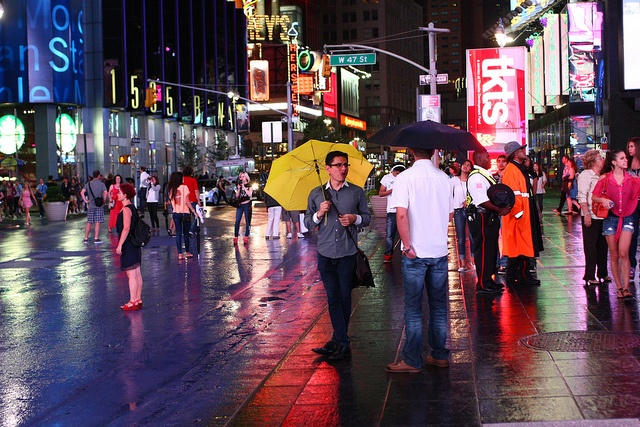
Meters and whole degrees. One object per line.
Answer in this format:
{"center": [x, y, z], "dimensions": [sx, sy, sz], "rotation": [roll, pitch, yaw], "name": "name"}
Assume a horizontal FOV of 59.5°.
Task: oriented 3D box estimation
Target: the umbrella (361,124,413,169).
{"center": [1.000, -0.887, 7.533], "dimensions": [0.499, 0.309, 0.501], "rotation": [-26, 20, -14], "name": "umbrella"}

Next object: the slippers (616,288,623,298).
{"center": [5.164, 1.376, 9.662], "dimensions": [0.091, 0.158, 0.207], "rotation": [0, 5, 24], "name": "slippers"}

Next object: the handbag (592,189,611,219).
{"center": [4.975, -0.190, 9.921], "dimensions": [0.239, 0.445, 0.395], "rotation": [12, 9, -8], "name": "handbag"}

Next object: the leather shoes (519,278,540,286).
{"center": [4.166, 1.375, 11.149], "dimensions": [0.330, 0.150, 0.145], "rotation": [-3, -3, 33], "name": "leather shoes"}

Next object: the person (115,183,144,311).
{"center": [-3.581, 0.590, 10.574], "dimensions": [0.396, 2.323, 0.948], "rotation": [-3, 4, -19], "name": "person"}

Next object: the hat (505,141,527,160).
{"center": [3.854, -1.277, 11.142], "dimensions": [0.316, 0.355, 0.522], "rotation": [0, 4, 19], "name": "hat"}

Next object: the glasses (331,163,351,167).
{"center": [0.261, -0.635, 7.300], "dimensions": [0.251, 0.053, 0.086], "rotation": [-3, 4, -19], "name": "glasses"}

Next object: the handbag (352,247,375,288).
{"center": [0.557, 0.618, 7.414], "dimensions": [0.330, 0.558, 0.502], "rotation": [0, 49, 12], "name": "handbag"}

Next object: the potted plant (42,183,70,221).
{"center": [-15.440, -0.551, 32.286], "dimensions": [1.636, 2.299, 1.780], "rotation": [0, -1, 31], "name": "potted plant"}

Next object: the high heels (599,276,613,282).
{"center": [5.541, 1.303, 10.901], "dimensions": [0.140, 0.128, 0.374], "rotation": [-19, -16, 17], "name": "high heels"}

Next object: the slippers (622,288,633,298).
{"center": [5.212, 1.377, 9.532], "dimensions": [0.141, 0.171, 0.150], "rotation": [1, 5, 28], "name": "slippers"}

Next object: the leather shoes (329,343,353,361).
{"center": [0.263, 1.792, 7.229], "dimensions": [0.272, 0.182, 0.204], "rotation": [-1, 4, 2], "name": "leather shoes"}

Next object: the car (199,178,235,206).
{"center": [-8.692, -2.005, 47.414], "dimensions": [2.263, 1.961, 5.202], "rotation": [-1, -3, 11], "name": "car"}

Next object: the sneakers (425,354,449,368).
{"center": [1.398, 1.797, 6.755], "dimensions": [0.103, 0.108, 0.236], "rotation": [-1, 7, -31], "name": "sneakers"}

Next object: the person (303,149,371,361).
{"center": [0.262, 0.527, 7.405], "dimensions": [0.851, 2.699, 0.659], "rotation": [-2, 4, -2], "name": "person"}

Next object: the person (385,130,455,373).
{"center": [1.203, 0.551, 6.649], "dimensions": [0.807, 2.641, 0.315], "rotation": [-3, 4, -18], "name": "person"}

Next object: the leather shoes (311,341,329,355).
{"center": [0.060, 1.795, 7.401], "dimensions": [0.300, 0.139, 0.108], "rotation": [2, 1, 17], "name": "leather shoes"}

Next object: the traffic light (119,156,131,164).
{"center": [-14.711, -4.175, 42.732], "dimensions": [0.748, 0.640, 0.744], "rotation": [-3, 4, -22], "name": "traffic light"}

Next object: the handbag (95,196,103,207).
{"center": [-8.264, -0.420, 21.111], "dimensions": [0.316, 0.384, 0.653], "rotation": [-3, 5, -24], "name": "handbag"}

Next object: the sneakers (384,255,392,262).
{"center": [1.761, 1.201, 14.480], "dimensions": [0.095, 0.212, 0.300], "rotation": [-3, -14, 17], "name": "sneakers"}

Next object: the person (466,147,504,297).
{"center": [3.074, 0.147, 10.361], "dimensions": [0.690, 2.719, 0.664], "rotation": [0, 4, 15], "name": "person"}

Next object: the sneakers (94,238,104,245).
{"center": [-8.086, 1.028, 20.561], "dimensions": [0.503, 0.225, 0.181], "rotation": [0, 2, -38], "name": "sneakers"}
